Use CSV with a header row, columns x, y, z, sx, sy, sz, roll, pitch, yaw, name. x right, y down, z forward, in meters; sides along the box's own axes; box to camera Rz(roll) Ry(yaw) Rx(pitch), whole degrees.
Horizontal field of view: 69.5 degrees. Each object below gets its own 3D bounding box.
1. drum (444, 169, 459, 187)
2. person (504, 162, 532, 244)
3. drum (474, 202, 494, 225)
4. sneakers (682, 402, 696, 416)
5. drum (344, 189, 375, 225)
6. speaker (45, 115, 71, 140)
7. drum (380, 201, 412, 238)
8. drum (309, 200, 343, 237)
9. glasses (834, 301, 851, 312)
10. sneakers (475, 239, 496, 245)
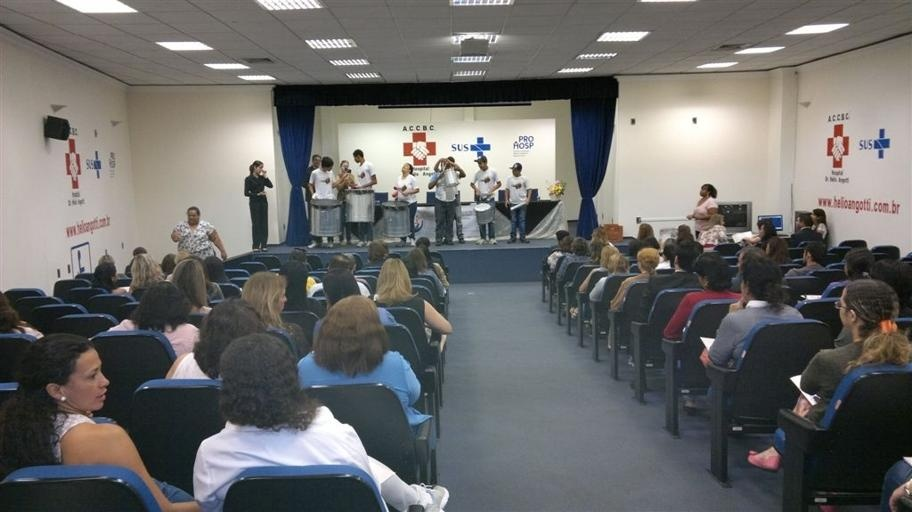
x,y,z,sx,sy,sz,roll,pitch,yaw,name
-0.111,-1.665,14.041,0.316,0.342,0.312,-2,-12,-2,drum
1.431,-1.253,15.233,0.537,1.750,1.109,1,9,5,person
0.616,-0.962,14.664,0.381,0.444,0.282,0,9,-4,drum
2.761,1.788,7.738,0.146,0.154,0.155,-1,-1,-10,sneakers
-2.156,-1.162,14.647,0.739,0.776,0.731,1,8,16,drum
-7.398,-2.359,12.102,0.130,0.355,0.575,2,3,20,speaker
-1.380,-0.828,14.660,0.783,0.786,0.754,-6,9,-38,drum
-2.899,-0.841,14.510,0.744,0.713,0.717,5,17,0,drum
3.563,0.440,6.041,0.078,0.095,0.272,3,9,17,glasses
0.671,-0.321,14.841,0.420,0.174,0.155,-3,4,13,sneakers
